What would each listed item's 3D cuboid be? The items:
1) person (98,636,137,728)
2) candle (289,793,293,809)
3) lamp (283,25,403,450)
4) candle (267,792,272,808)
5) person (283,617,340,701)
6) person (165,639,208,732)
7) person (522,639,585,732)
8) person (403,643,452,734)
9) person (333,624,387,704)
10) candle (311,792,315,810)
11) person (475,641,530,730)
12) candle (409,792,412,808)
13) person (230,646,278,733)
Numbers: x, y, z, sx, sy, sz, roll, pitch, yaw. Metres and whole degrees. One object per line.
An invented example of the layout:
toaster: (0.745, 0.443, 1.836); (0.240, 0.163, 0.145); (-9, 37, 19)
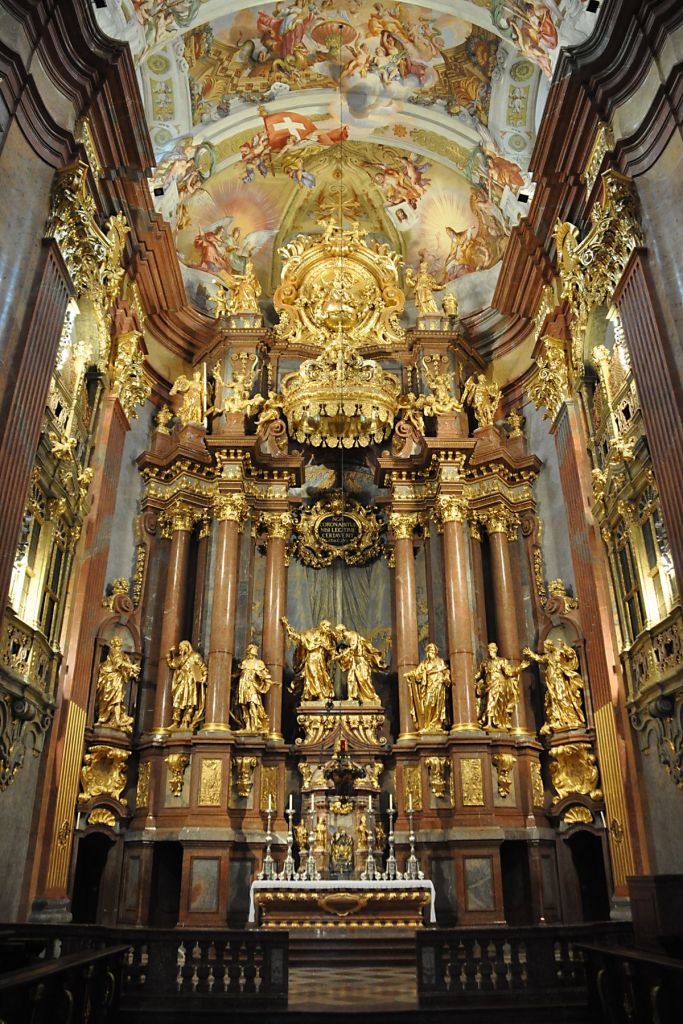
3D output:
person: (-3.055, 2.392, 9.369); (0.304, 1.183, 0.714); (-9, -30, 18)
candle: (-0.719, 4.146, 9.814); (0.055, 0.178, 0.112); (5, -29, -8)
lamp: (-0.028, -3.779, 12.663); (2.469, 5.473, 0.638); (0, -23, -4)
candle: (-0.996, 4.039, 9.554); (0.028, 0.174, 0.114); (-21, -35, 34)
person: (-0.472, 2.334, 10.584); (1.042, 1.686, 0.549); (3, -33, -6)
person: (-2.209, 2.501, 9.696); (0.618, 1.235, 0.385); (0, -28, 0)
person: (2.962, 2.383, 9.361); (0.627, 1.273, 0.346); (-9, -30, 17)
person: (1.244, 2.579, 9.843); (0.598, 1.229, 0.411); (-3, -28, 6)
person: (0.268, 2.427, 10.672); (0.598, 0.990, 0.571); (18, -45, -22)
candle: (-0.402, 4.009, 9.440); (0.058, 0.206, 0.029); (-10, -30, 18)
person: (2.254, 2.519, 9.724); (1.006, 1.409, 0.399); (1, -29, -2)
candle: (0.952, 4.049, 9.550); (0.058, 0.192, 0.035); (8, -29, -13)
person: (-1.262, 2.617, 9.941); (0.583, 1.260, 0.377); (23, -36, -36)
